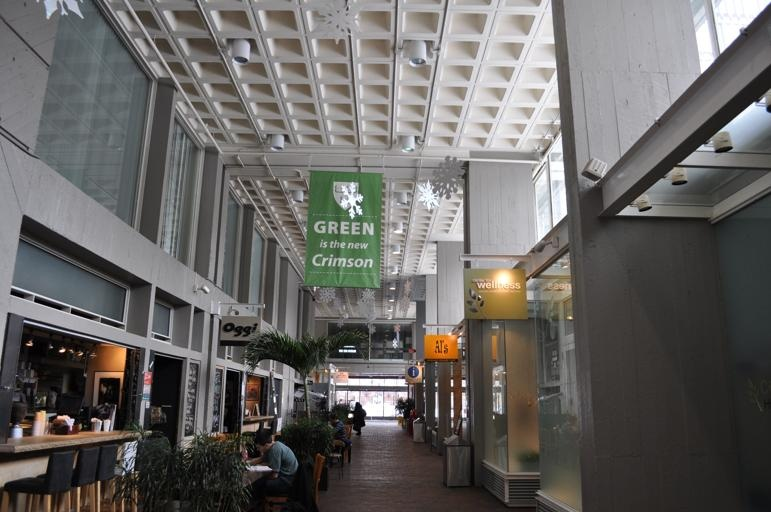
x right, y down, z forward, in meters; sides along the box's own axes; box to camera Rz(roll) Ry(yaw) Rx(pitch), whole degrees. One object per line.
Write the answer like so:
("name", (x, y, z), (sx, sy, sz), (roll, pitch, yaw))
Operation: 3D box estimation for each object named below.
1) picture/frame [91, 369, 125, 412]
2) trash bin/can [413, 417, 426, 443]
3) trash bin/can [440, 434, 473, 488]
("picture/frame", (-4.947, 2.414, 9.228), (0.031, 0.724, 0.551), (-20, -25, 26))
("trash bin/can", (1.239, 6.470, 19.248), (0.415, 0.827, 0.535), (-2, -18, 3))
("trash bin/can", (1.478, 4.069, 10.185), (0.557, 0.903, 0.596), (-13, -34, 25))
